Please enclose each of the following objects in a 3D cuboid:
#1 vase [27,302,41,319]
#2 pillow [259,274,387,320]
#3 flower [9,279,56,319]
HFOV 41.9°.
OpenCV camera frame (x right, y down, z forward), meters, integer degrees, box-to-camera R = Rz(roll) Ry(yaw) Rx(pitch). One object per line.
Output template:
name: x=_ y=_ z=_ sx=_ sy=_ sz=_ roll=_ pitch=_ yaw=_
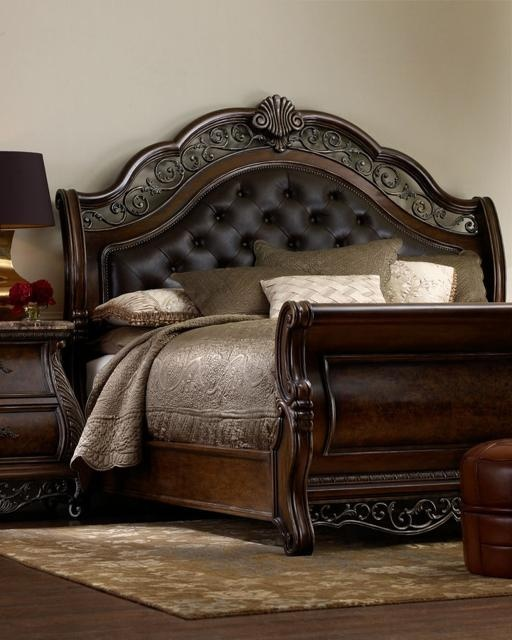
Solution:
vase: x=-0.949 y=-0.046 z=2.849 sx=0.077 sy=0.067 sz=0.067 roll=0 pitch=-6 yaw=-3
pillow: x=0.261 y=-0.125 z=2.758 sx=0.423 sy=0.092 sz=0.222 roll=-1 pitch=29 yaw=-12
flower: x=-0.957 y=-0.098 z=2.900 sx=0.208 sy=0.165 sz=0.201 roll=0 pitch=-2 yaw=-44
